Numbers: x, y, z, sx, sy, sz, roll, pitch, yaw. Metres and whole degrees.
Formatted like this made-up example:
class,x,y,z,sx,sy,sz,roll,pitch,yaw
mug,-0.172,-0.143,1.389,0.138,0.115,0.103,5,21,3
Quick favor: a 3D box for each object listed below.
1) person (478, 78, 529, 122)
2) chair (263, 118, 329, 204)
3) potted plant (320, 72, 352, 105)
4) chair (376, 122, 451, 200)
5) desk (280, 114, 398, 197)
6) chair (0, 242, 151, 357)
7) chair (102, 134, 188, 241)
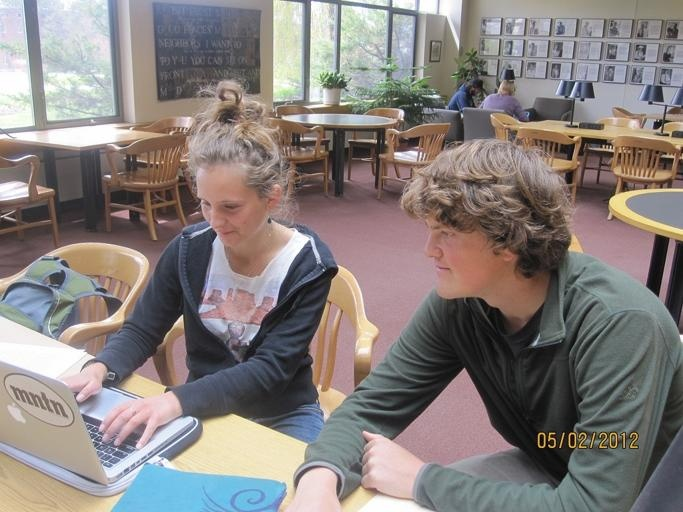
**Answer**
class,x,y,z,sx,sy,sz,roll,pitch,yaw
person,2.496,-2.382,7.957,0.746,0.680,0.477,21,27,34
chair,-0.542,-1.151,6.152,0.661,0.889,0.709,-12,20,-39
potted plant,-0.085,-2.610,8.121,0.504,0.450,0.505,1,13,11
chair,0.711,-1.153,6.255,0.687,0.864,0.744,9,14,16
desk,-0.004,-1.335,6.417,1.251,0.772,1.220,-11,23,-30
chair,-0.866,0.111,1.854,0.462,0.339,0.453,18,16,21
chair,-1.797,-0.672,4.772,0.670,0.911,0.720,9,18,12
